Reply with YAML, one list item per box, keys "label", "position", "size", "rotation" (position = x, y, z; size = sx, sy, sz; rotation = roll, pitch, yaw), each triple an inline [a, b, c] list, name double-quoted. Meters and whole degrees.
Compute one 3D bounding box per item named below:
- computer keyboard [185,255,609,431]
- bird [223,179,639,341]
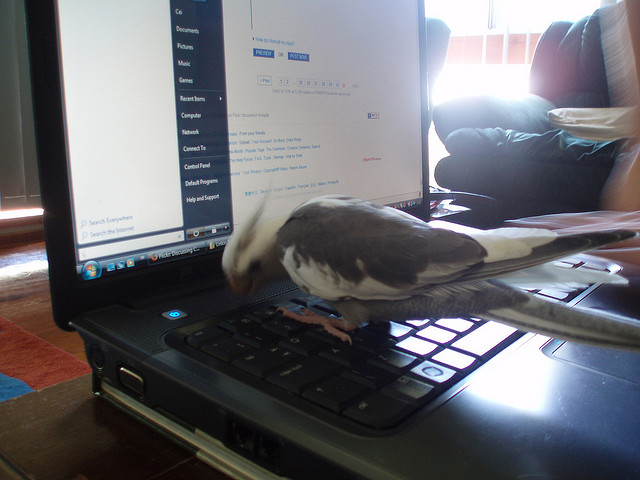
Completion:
- label: "computer keyboard"
  position: [0.033, 0.073, 0.348]
  size: [0.190, 0.023, 0.170]
  rotation: [10, 21, 34]
- label: "bird"
  position: [0.031, -0.001, 0.406]
  size: [0.410, 0.151, 0.106]
  rotation: [-3, 14, 25]
